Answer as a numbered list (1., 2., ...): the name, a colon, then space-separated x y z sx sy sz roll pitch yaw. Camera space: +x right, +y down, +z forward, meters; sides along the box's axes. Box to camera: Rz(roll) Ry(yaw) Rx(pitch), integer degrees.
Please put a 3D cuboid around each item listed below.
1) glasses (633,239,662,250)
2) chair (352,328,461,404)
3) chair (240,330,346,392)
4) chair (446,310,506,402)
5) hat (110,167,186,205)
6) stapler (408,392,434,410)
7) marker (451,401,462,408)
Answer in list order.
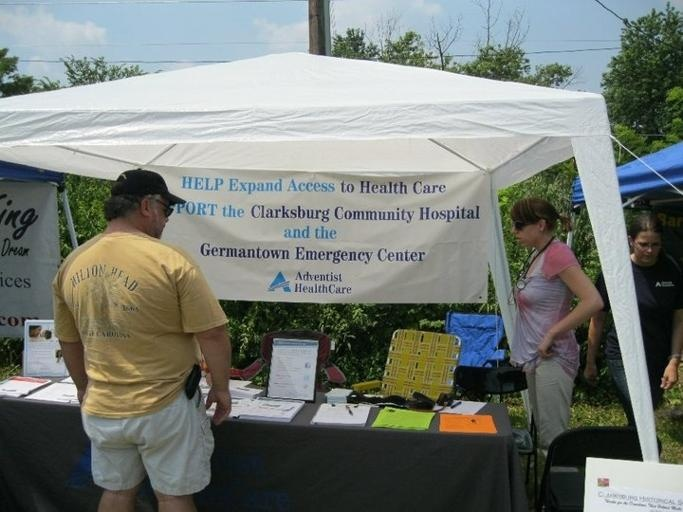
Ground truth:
1. glasses: 2.019 -0.073 5.589 0.173 0.054 0.123 0 3 23
2. chair: 0.478 0.745 5.887 0.485 0.580 0.630 3 -5 18
3. chair: -0.368 0.649 5.878 0.672 0.621 0.455 0 3 5
4. chair: 1.135 0.796 6.869 0.674 0.876 0.660 -1 -9 5
5. hat: -1.064 -0.388 4.713 0.321 0.155 0.204 -2 5 -25
6. stapler: 0.514 0.928 5.424 0.135 0.043 0.097 4 4 2
7. marker: 0.745 0.956 5.456 0.026 0.012 0.107 4 8 19
